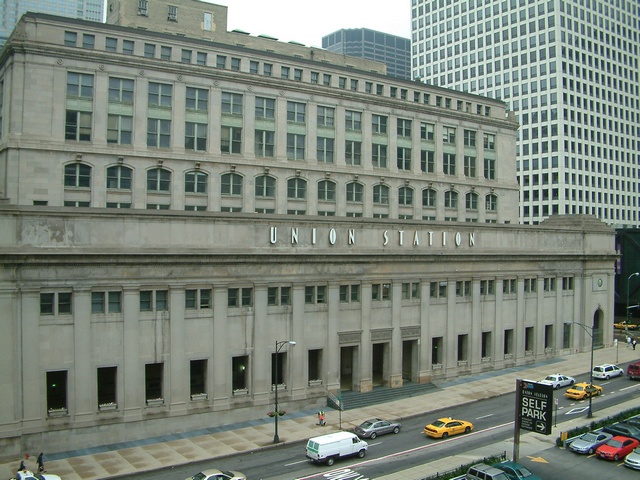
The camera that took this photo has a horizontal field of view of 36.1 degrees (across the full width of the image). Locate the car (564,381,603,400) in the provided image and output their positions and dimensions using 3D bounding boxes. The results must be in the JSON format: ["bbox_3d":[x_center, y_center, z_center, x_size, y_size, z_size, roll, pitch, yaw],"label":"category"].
[{"bbox_3d":[33.634,19.095,124.484,4.693,1.489,2.431,-1,0,-32],"label":"car"}]

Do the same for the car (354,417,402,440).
[{"bbox_3d":[6.498,21.556,112.808,4.905,1.481,2.050,-4,6,-23],"label":"car"}]

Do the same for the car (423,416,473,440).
[{"bbox_3d":[14.649,21.604,113.127,5.059,1.608,2.252,-4,4,-21],"label":"car"}]

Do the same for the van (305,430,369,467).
[{"bbox_3d":[1.953,22.759,108.163,5.541,3.276,4.635,-4,-14,18],"label":"van"}]

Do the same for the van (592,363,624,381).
[{"bbox_3d":[38.929,17.775,132.960,4.375,1.498,2.111,-4,1,-30],"label":"van"}]
